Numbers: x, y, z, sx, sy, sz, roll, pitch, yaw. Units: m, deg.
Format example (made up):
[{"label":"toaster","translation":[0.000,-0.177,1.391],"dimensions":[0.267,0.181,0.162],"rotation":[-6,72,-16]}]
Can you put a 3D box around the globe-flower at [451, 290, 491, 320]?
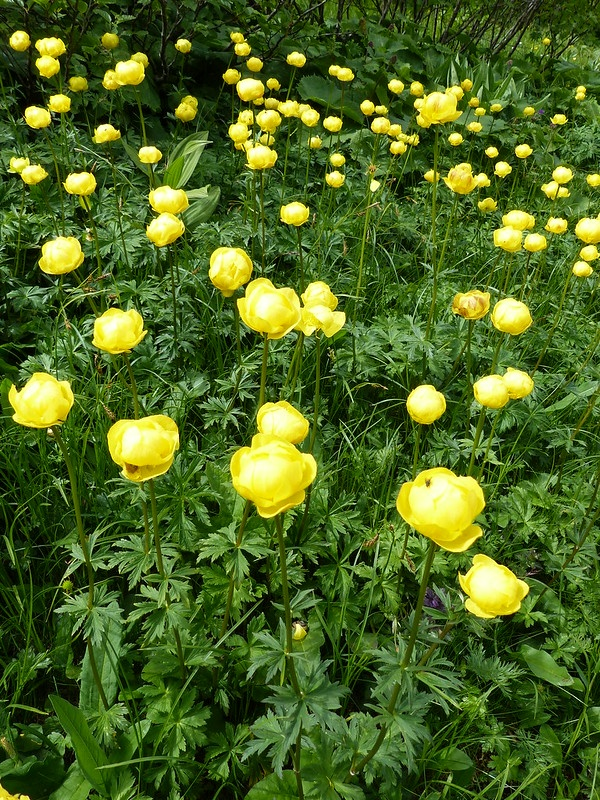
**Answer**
[{"label":"globe-flower","translation":[0.475,-0.255,1.881],"dimensions":[0.103,0.068,0.096],"rotation":[-8,63,-1]}]

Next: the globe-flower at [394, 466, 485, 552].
[{"label":"globe-flower","translation":[0.224,0.162,1.088],"dimensions":[0.126,0.088,0.135],"rotation":[30,92,9]}]

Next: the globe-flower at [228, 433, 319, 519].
[{"label":"globe-flower","translation":[-0.045,0.117,1.032],"dimensions":[0.121,0.113,0.117],"rotation":[14,43,0]}]

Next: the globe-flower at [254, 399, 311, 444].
[{"label":"globe-flower","translation":[-0.030,0.033,1.129],"dimensions":[0.063,0.080,0.048],"rotation":[24,87,11]}]

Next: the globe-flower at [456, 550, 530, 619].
[{"label":"globe-flower","translation":[0.301,0.293,1.089],"dimensions":[0.104,0.072,0.118],"rotation":[9,6,21]}]

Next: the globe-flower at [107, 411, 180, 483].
[{"label":"globe-flower","translation":[-0.266,0.067,1.249],"dimensions":[0.117,0.089,0.129],"rotation":[13,66,11]}]

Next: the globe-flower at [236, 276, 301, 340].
[{"label":"globe-flower","translation":[-0.056,-0.163,1.279],"dimensions":[0.110,0.118,0.081],"rotation":[6,36,-12]}]

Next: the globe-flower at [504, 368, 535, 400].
[{"label":"globe-flower","translation":[0.516,-0.042,1.640],"dimensions":[0.078,0.082,0.097],"rotation":[6,18,18]}]

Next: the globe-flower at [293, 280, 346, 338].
[{"label":"globe-flower","translation":[0.037,-0.194,1.483],"dimensions":[0.123,0.069,0.136],"rotation":[-4,71,6]}]

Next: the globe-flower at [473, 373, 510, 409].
[{"label":"globe-flower","translation":[0.419,-0.019,1.554],"dimensions":[0.081,0.070,0.068],"rotation":[-5,35,35]}]
